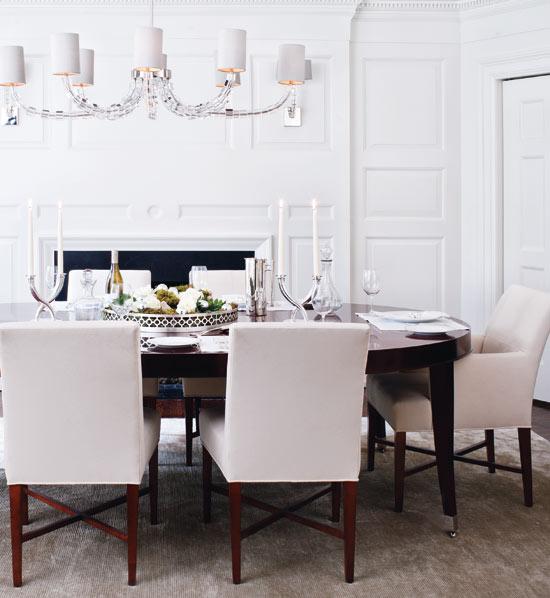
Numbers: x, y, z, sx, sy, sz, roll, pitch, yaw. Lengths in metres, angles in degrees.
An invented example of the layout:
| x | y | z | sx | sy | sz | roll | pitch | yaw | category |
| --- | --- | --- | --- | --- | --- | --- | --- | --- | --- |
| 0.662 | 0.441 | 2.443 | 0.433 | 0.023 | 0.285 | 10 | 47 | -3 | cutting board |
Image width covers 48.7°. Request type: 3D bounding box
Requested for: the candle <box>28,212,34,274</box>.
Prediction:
| x | y | z | sx | sy | sz | roll | pitch | yaw | category |
| --- | --- | --- | --- | --- | --- | --- | --- | --- | --- |
| -0.871 | -0.207 | 2.170 | 0.021 | 0.254 | 0.220 | -2 | 6 | -23 | candle |

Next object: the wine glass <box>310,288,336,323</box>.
| x | y | z | sx | sy | sz | roll | pitch | yaw | category |
| --- | --- | --- | --- | --- | --- | --- | --- | --- | --- |
| 0.184 | 0.020 | 2.424 | 0.098 | 0.175 | 0.106 | -7 | 10 | -28 | wine glass |

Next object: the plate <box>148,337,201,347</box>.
| x | y | z | sx | sy | sz | roll | pitch | yaw | category |
| --- | --- | --- | --- | --- | --- | --- | --- | --- | --- |
| -0.322 | 0.135 | 1.890 | 0.173 | 0.023 | 0.143 | 0 | 5 | 0 | plate |
